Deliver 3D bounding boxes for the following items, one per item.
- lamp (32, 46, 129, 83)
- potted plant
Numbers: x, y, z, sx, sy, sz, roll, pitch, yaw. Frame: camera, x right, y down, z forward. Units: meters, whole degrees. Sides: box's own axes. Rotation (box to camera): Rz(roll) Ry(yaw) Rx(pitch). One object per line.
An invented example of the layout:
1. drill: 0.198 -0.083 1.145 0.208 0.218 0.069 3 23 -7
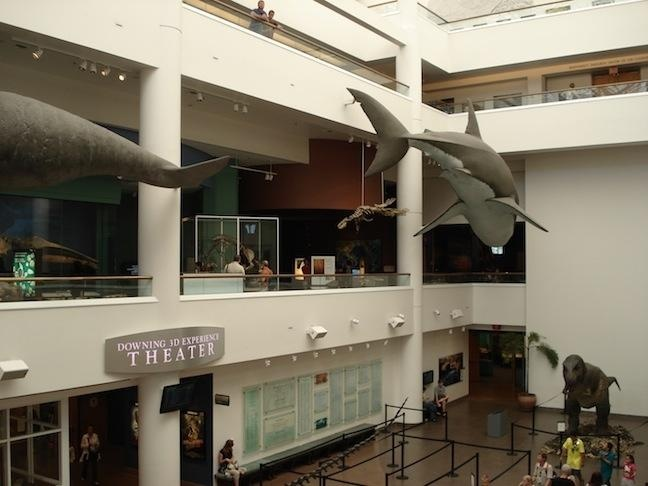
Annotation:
1. lamp: -5.287 -4.051 13.107 0.612 0.648 2.190 7 2 42
2. potted plant: 8.768 4.977 23.357 2.304 3.109 2.487 -2 1 -17
